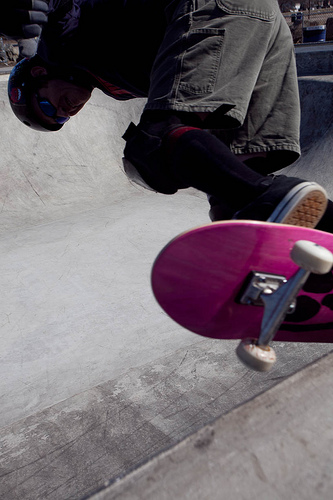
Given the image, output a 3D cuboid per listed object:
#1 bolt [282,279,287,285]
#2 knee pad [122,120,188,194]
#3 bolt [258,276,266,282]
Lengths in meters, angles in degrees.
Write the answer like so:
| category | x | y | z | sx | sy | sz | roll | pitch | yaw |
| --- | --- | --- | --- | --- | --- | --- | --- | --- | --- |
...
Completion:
| category | x | y | z | sx | sy | sz | roll | pitch | yaw |
| --- | --- | --- | --- | --- | --- | --- | --- | --- | --- |
| bolt | 0.318 | 0.084 | 1.080 | 0.016 | 0.007 | 0.057 | 6 | 11 | 13 |
| knee pad | -0.033 | -0.301 | 1.265 | 0.211 | 0.190 | 0.111 | 8 | -1 | -28 |
| bolt | 0.266 | 0.082 | 1.117 | 0.016 | 0.014 | 0.006 | -14 | 6 | -1 |
